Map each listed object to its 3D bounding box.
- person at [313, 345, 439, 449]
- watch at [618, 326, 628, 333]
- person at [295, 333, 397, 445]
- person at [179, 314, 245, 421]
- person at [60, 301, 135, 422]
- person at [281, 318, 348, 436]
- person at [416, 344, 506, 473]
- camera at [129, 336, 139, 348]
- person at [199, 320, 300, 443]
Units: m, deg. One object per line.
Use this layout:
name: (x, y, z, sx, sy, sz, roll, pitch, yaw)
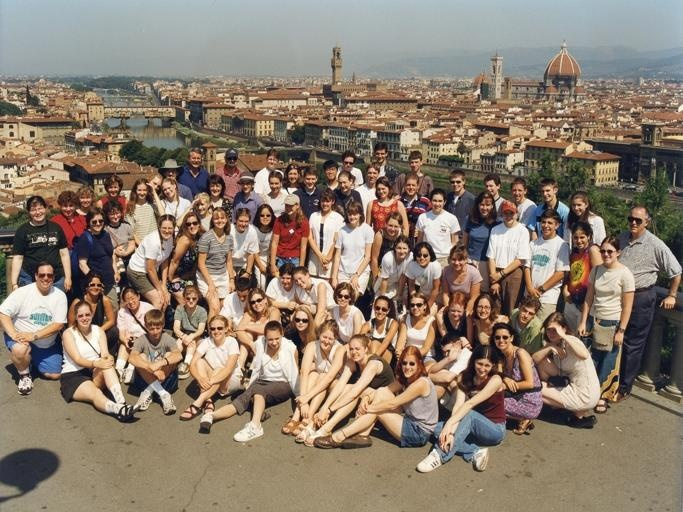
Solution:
person: (0.259, 1.120, 5.089, 0.968, 0.799, 0.473, 2, -1, -15)
watch: (2.341, 0.606, 5.424, 0.053, 0.055, 0.014, 17, 60, 10)
person: (0.026, 1.042, 5.258, 0.981, 0.695, 0.372, -15, 13, -39)
person: (-1.094, 0.912, 5.387, 0.382, 0.751, 0.810, 4, 6, 8)
person: (-2.013, 0.876, 5.436, 0.908, 0.934, 0.379, 9, 10, 39)
person: (-0.182, 0.972, 5.309, 0.370, 0.668, 0.889, 4, 18, 13)
person: (0.973, 1.134, 4.931, 0.744, 0.809, 0.570, -12, 11, -38)
camera: (-1.819, 0.750, 5.703, 0.065, 0.088, 0.031, 2, 28, 7)
person: (-0.615, 0.996, 5.357, 0.533, 0.656, 1.071, 20, 30, 27)
